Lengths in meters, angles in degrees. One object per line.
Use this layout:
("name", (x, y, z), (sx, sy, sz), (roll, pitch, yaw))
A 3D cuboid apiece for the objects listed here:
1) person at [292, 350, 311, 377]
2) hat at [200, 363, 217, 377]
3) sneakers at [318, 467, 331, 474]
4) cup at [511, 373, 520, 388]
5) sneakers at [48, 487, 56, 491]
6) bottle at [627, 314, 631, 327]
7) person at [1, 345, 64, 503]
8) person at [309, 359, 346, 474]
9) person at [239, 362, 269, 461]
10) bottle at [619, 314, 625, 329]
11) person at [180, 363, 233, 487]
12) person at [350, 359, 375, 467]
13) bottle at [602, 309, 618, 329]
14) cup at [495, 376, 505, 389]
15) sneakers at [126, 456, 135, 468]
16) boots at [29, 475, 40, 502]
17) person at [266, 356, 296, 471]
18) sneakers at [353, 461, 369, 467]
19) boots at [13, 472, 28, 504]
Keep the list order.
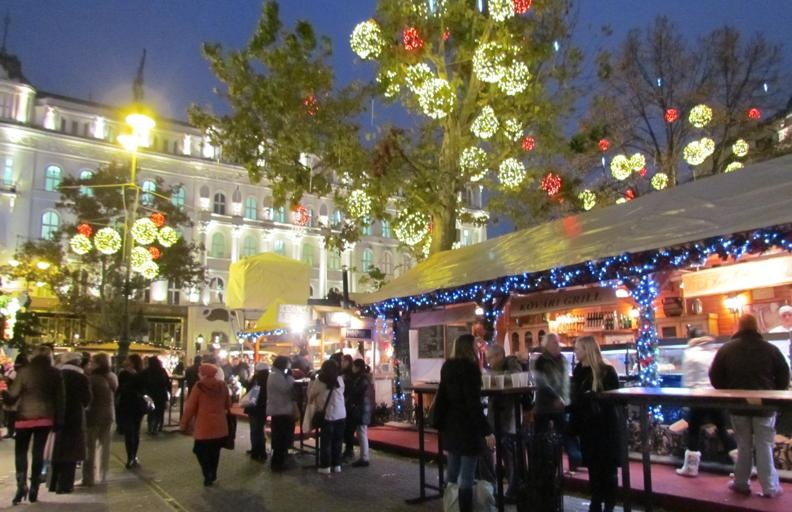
("person", (-3.032, 3.451, 20.382), (0.469, 0.874, 0.637), (4, -7, -42))
("hat", (-4.124, 2.520, 13.939), (0.285, 0.288, 0.357), (2, -1, -29))
("sneakers", (-1.617, 4.891, 14.558), (0.312, 0.135, 0.116), (-1, -11, 29))
("cup", (2.208, 2.316, 11.837), (0.199, 0.270, 0.224), (-1, -5, 7))
("sneakers", (-7.232, 4.897, 13.383), (0.110, 0.108, 0.062), (-6, -10, 13))
("bottle", (6.944, 1.943, 18.889), (0.144, 0.259, 0.262), (0, -11, 10))
("person", (-7.271, 3.356, 12.737), (1.039, 3.040, 0.438), (7, -11, -25))
("person", (-1.620, 3.685, 14.738), (0.854, 2.540, 0.510), (3, -10, -8))
("person", (-3.592, 3.962, 16.347), (0.676, 2.443, 0.750), (3, -10, -7))
("bottle", (6.789, 1.933, 19.025), (0.171, 0.363, 0.187), (2, -10, 0))
("person", (-4.135, 3.656, 13.891), (1.010, 2.590, 0.616), (5, -10, -18))
("person", (-0.824, 3.740, 15.384), (0.455, 2.517, 0.593), (-2, -11, 22))
("bottle", (6.472, 1.927, 19.182), (0.385, 0.555, 0.118), (-4, -11, 28))
("cup", (1.947, 2.324, 11.866), (0.124, 0.217, 0.176), (-5, -12, 33))
("sneakers", (-6.421, 4.982, 15.430), (0.245, 0.251, 0.410), (5, -12, -19))
("boots", (-7.266, 4.656, 12.763), (0.184, 0.471, 0.391), (7, -12, -29))
("person", (-2.750, 3.755, 15.425), (0.633, 2.671, 0.675), (-5, -12, 34))
("sneakers", (-0.823, 4.918, 15.156), (0.405, 0.173, 0.153), (2, -11, 9))
("boots", (-7.470, 4.594, 12.662), (0.246, 0.572, 0.361), (7, -12, -29))
